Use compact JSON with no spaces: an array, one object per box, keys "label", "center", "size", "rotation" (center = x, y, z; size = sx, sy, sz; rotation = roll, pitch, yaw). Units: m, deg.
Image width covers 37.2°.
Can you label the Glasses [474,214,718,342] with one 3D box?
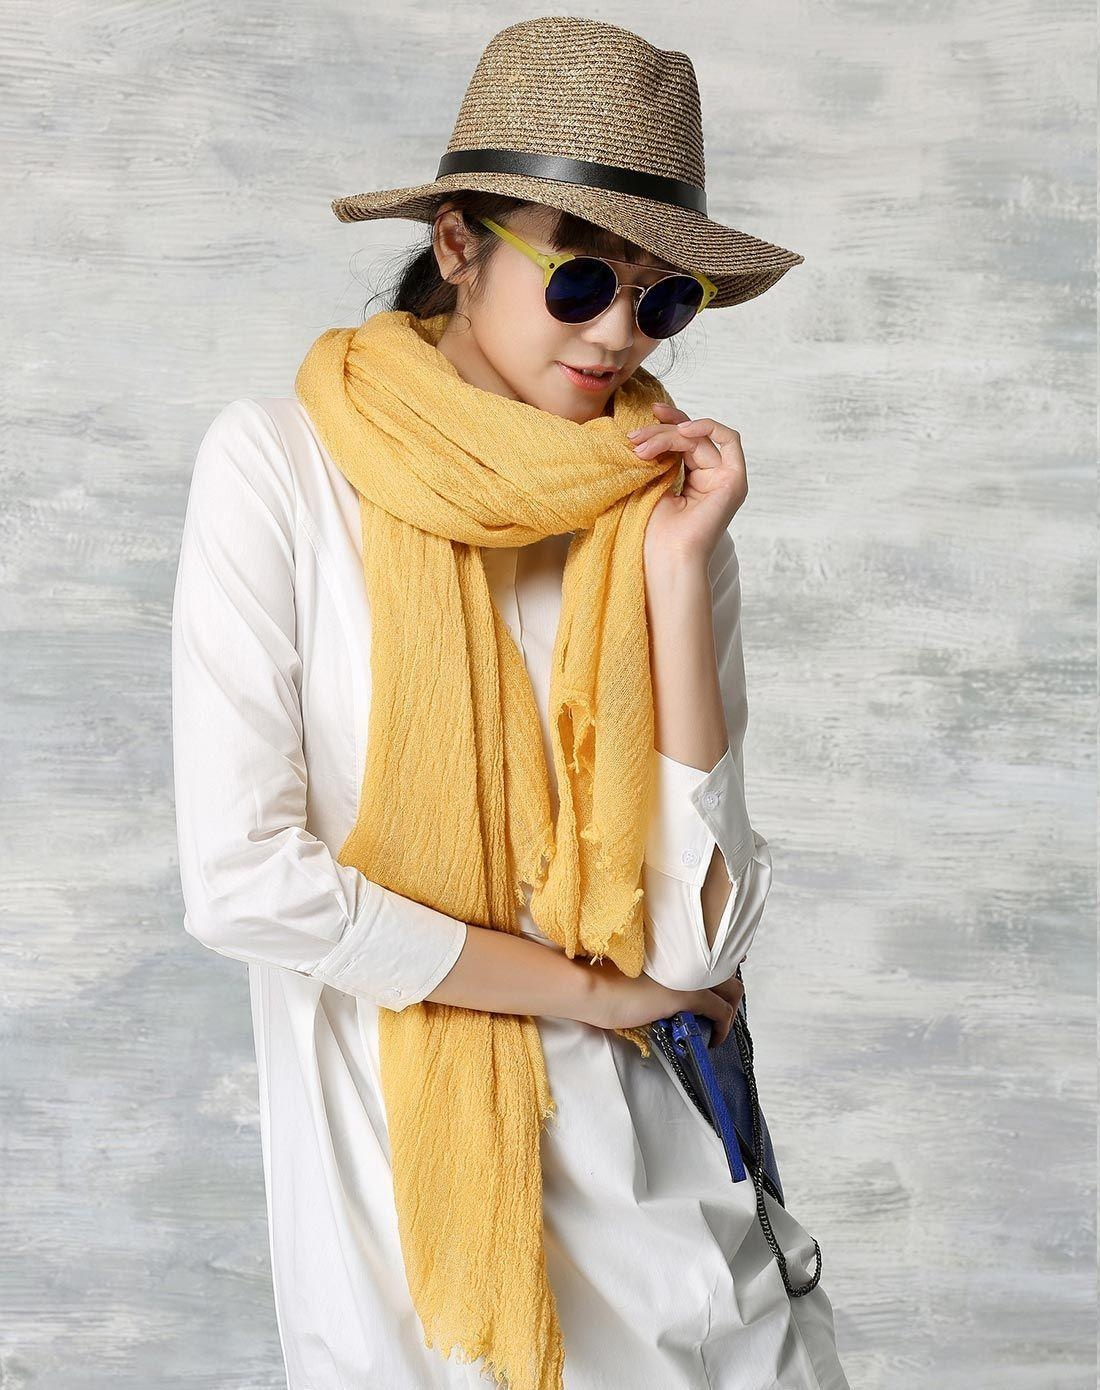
[{"label":"Glasses","center":[0.056,-0.401,1.637],"size":[0.168,0.046,0.155],"rotation":[8,18,-38]}]

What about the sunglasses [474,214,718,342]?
[{"label":"sunglasses","center":[0.056,-0.401,1.639],"size":[0.168,0.046,0.155],"rotation":[8,18,-38]}]
